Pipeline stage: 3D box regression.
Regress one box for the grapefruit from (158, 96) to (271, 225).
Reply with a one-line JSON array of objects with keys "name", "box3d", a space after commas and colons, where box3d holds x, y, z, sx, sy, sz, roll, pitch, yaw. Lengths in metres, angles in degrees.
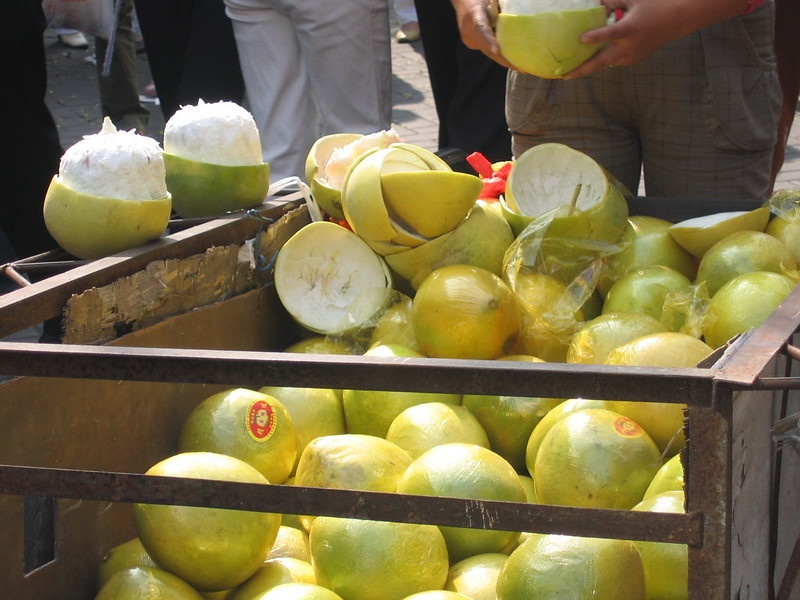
[{"name": "grapefruit", "box3d": [-0.546, -0.413, 2.531, 0.305, 0.364, 0.288, -13, 12, -23]}]
